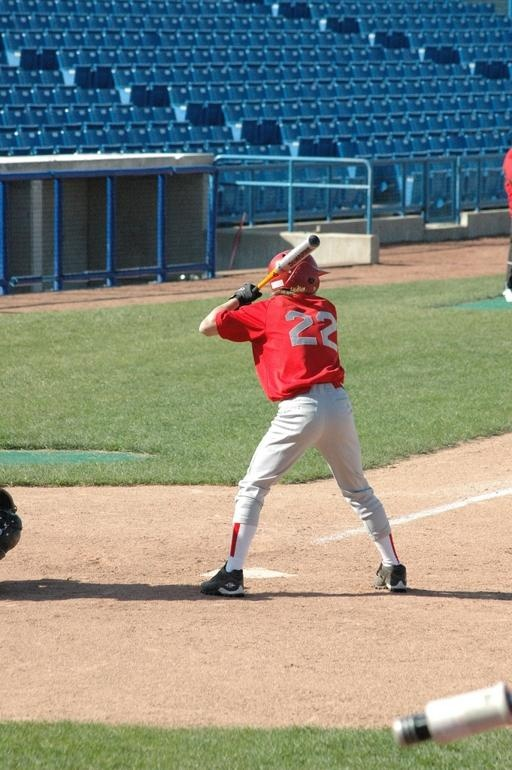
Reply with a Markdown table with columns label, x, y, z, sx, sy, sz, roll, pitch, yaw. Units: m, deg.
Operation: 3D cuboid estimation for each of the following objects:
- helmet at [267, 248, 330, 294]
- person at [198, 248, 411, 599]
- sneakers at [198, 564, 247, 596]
| label | x | y | z | sx | sy | sz | roll | pitch | yaw |
| --- | --- | --- | --- | --- | --- | --- | --- | --- | --- |
| helmet | 0.202 | -0.541 | 6.433 | 0.238 | 0.187 | 0.178 | -13 | 14 | -17 |
| person | 0.191 | 0.233 | 6.380 | 0.934 | 1.645 | 0.407 | -2 | 9 | 10 |
| sneakers | -0.145 | 0.950 | 6.480 | 0.251 | 0.170 | 0.095 | 3 | -7 | 14 |
